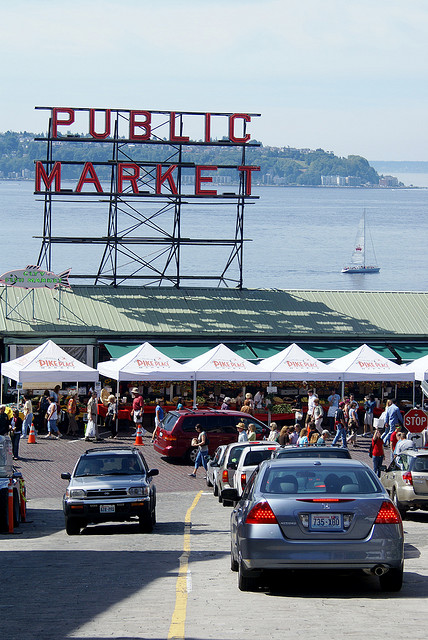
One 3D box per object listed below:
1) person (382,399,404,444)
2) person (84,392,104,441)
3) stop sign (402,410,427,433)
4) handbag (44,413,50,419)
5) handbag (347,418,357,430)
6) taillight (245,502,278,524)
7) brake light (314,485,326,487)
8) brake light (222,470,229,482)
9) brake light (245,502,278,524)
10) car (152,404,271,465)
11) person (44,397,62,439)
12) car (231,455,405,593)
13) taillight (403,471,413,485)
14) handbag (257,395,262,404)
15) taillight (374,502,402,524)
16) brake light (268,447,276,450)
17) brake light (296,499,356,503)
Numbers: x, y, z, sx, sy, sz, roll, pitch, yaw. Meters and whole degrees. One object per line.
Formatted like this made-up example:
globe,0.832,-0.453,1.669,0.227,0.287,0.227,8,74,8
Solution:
person,4.104,2.334,32.820,0.456,1.085,0.315,-7,17,-35
person,-3.062,2.401,35.061,0.360,1.219,0.810,0,1,-5
stop sign,4.863,2.472,34.271,0.479,0.563,0.087,-1,7,-16
handbag,-4.306,2.433,35.857,0.032,0.168,0.163,7,3,14
handbag,3.458,2.611,35.459,0.081,0.264,0.158,1,-2,-39
taillight,0.444,1.832,13.369,0.185,0.153,0.214,1,-2,-3
brake light,1.024,1.606,13.672,0.091,0.016,0.045,0,1,12
brake light,0.176,2.735,24.766,0.047,0.242,0.388,0,1,-12
brake light,0.443,1.836,13.367,0.186,0.150,0.213,0,0,-2
car,-0.070,2.394,31.831,2.253,1.127,1.282,-9,4,-13
person,-4.128,2.474,36.040,0.413,1.061,1.650,0,1,-7
car,0.988,1.862,13.412,0.835,0.949,1.768,0,1,-1
taillight,2.981,2.435,21.740,0.071,0.174,0.229,-1,1,-24
handbag,1.226,2.196,39.211,0.189,0.214,0.047,-1,5,-36
taillight,1.635,1.799,13.391,0.178,0.207,0.205,-1,2,-10
brake light,0.928,2.117,23.235,0.041,0.034,0.253,-1,1,-16
brake light,1.043,1.705,13.333,0.521,0.032,0.045,0,1,0
